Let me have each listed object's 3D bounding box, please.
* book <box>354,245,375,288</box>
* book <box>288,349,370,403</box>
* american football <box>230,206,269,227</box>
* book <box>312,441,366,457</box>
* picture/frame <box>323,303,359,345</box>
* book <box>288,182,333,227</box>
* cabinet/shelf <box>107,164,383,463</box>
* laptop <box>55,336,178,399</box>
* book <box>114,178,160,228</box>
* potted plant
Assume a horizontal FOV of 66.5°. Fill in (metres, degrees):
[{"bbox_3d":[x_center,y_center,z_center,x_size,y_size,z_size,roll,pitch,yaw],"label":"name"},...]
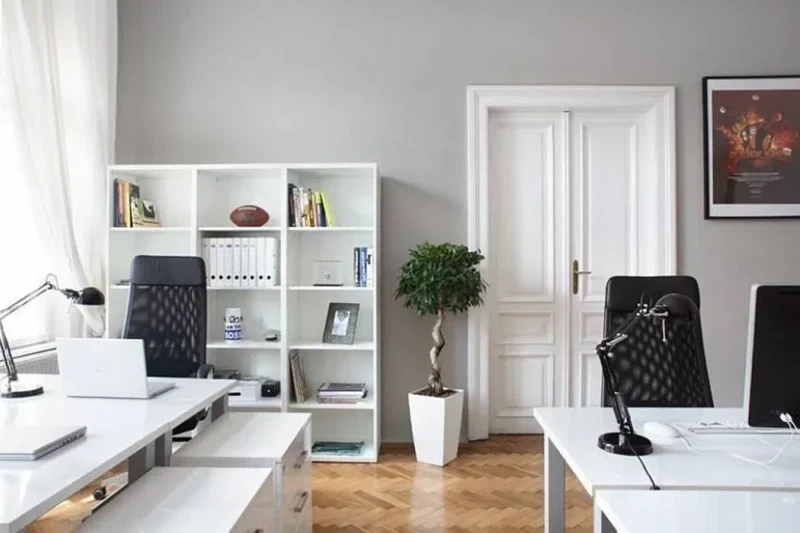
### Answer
[{"bbox_3d":[-0.274,0.000,4.828,0.261,0.366,0.260,0,0,3],"label":"book"},{"bbox_3d":[-0.573,0.870,4.909,0.565,0.404,0.383,0,-1,1],"label":"book"},{"bbox_3d":[-1.205,-0.402,4.850,0.250,0.147,0.166,2,6,-4],"label":"american football"},{"bbox_3d":[-0.496,1.447,4.875,0.421,0.030,0.264,-1,4,3],"label":"book"},{"bbox_3d":[-0.471,0.465,4.946,0.347,0.400,0.027,3,-28,13],"label":"picture/frame"},{"bbox_3d":[-0.717,-0.462,4.836,0.343,0.469,0.366,1,3,5],"label":"book"},{"bbox_3d":[-1.097,0.358,4.545,2.455,2.526,0.647,0,-3,-3],"label":"cabinet/shelf"},{"bbox_3d":[-1.684,0.578,3.620,0.496,0.363,0.310,1,7,4],"label":"laptop"},{"bbox_3d":[-2.149,-0.516,4.941,0.171,0.406,0.433,-1,-3,18],"label":"book"},{"bbox_3d":[0.321,0.660,4.746,0.653,1.712,0.300,-1,5,2],"label":"potted plant"}]
